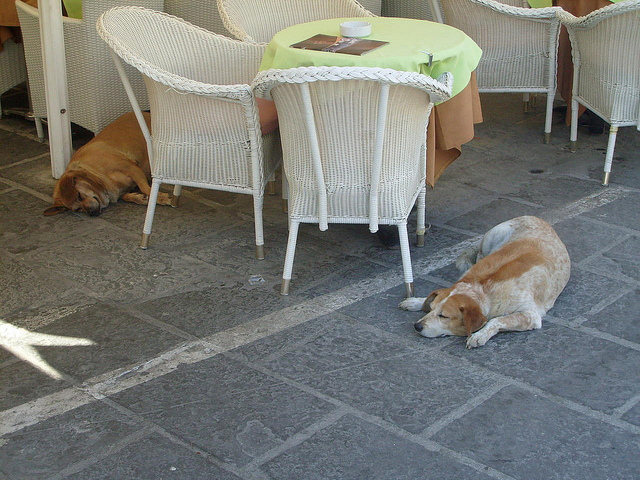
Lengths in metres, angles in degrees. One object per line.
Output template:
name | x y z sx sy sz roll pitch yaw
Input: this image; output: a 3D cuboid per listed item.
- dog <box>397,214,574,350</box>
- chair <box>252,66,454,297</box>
dog | 0.921 0.199 2.581 1.002 0.219 0.619 -26 35 -27
chair | 0.170 -0.273 2.679 0.918 1.153 0.494 -3 28 -3
